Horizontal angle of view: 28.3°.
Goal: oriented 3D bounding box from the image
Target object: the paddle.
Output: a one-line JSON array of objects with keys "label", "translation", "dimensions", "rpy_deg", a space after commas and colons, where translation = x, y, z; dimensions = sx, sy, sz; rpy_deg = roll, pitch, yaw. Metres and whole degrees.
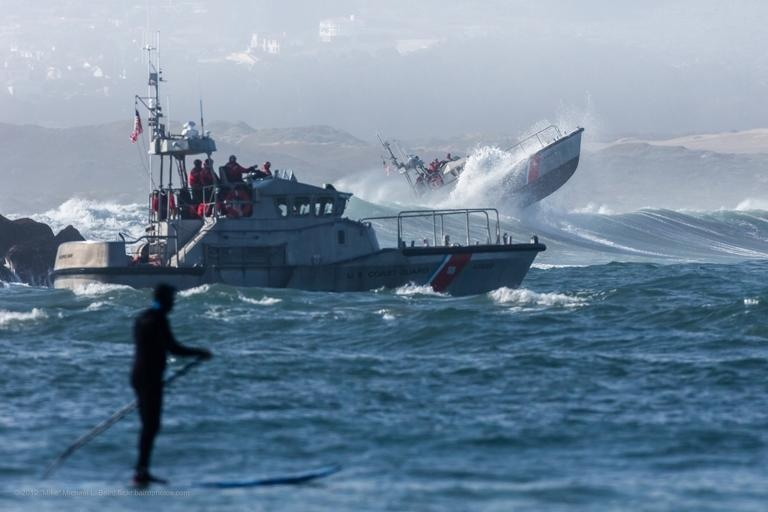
[{"label": "paddle", "translation": [-5.757, 3.701, 33.238], "dimensions": [4.905, 0.566, 0.247], "rpy_deg": [-27, 24, -9]}]

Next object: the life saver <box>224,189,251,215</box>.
[{"label": "life saver", "translation": [-4.135, -1.520, 43.320], "dimensions": [0.700, 0.768, 0.647], "rpy_deg": [-1, 13, -6]}]

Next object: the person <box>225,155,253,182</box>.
[{"label": "person", "translation": [-4.209, -2.550, 43.660], "dimensions": [0.782, 0.778, 1.046], "rpy_deg": [2, 12, 8]}]
